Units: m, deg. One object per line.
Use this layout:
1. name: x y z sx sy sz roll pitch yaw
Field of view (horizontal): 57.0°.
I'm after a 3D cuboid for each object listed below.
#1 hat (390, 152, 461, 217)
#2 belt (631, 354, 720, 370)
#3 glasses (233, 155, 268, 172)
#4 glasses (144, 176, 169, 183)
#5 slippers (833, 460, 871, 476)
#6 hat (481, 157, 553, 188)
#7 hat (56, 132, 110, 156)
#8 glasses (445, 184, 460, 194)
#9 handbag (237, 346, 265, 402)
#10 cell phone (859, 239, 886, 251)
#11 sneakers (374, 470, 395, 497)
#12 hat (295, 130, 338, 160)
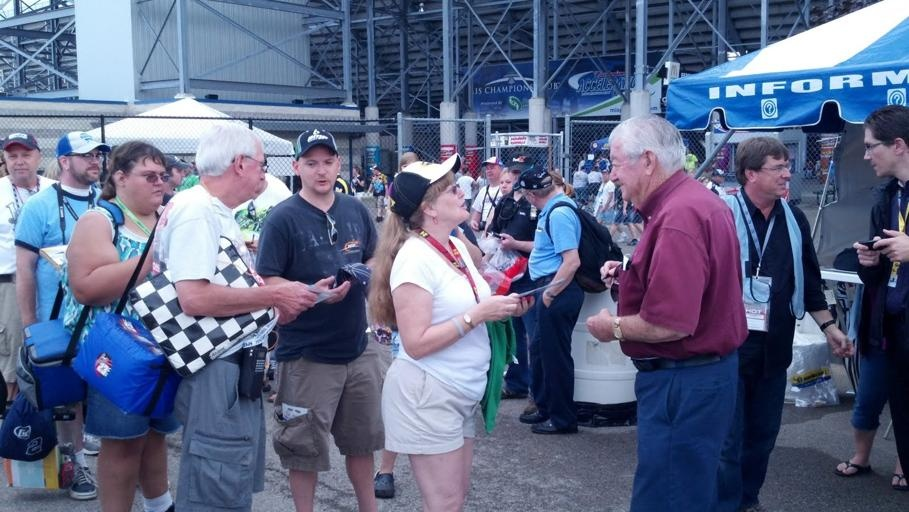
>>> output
1. hat: -0.236 -0.585 6.896 0.563 0.528 0.228 0 5 -4
2. belt: 1.818 0.856 6.791 0.692 0.176 0.089 1 6 13
3. glasses: -1.674 -0.785 6.984 0.158 0.122 0.374 2 6 19
4. glasses: -2.633 -0.704 7.405 0.068 0.062 0.195 3 6 25
5. slippers: 3.958 2.091 8.294 0.277 0.080 0.151 1 4 8
6. hat: 0.832 -0.905 9.308 0.303 0.217 0.477 -17 12 -33
7. hat: -3.681 -1.087 8.209 0.406 0.187 0.268 -4 11 5
8. glasses: -0.007 -0.564 6.899 0.071 0.049 0.089 -31 -18 -10
9. handbag: -1.643 0.946 6.827 0.236 0.457 0.103 -2 6 -21
10. cell phone: 3.806 -0.118 7.592 0.159 0.113 0.246 -1 5 -14
11. sneakers: -0.680 2.195 8.100 0.293 0.225 0.581 1 -5 -5
12. hat: -1.243 -1.025 7.503 0.359 0.261 0.343 -1 5 -11
